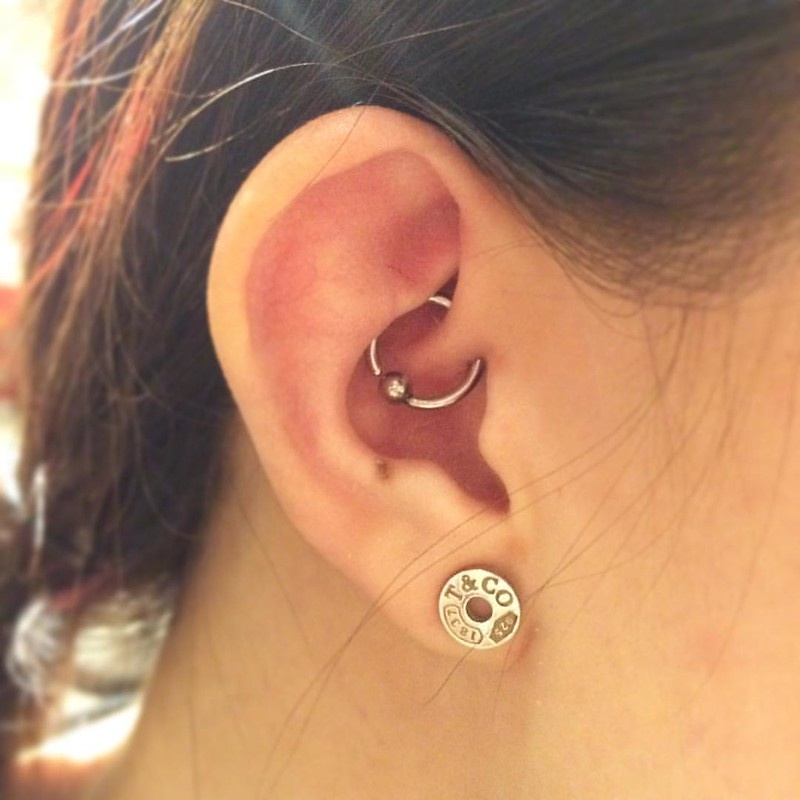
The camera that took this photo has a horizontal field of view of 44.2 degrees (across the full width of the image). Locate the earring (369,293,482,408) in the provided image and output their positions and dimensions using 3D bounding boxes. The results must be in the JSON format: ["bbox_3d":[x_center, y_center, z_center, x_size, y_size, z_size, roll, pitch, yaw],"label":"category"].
[{"bbox_3d":[0.029,-0.037,1.047,0.119,0.118,0.039,-21,3,1],"label":"earring"}]

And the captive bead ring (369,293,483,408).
[{"bbox_3d":[0.029,-0.037,1.048,0.119,0.118,0.039,-21,3,1],"label":"captive bead ring"}]

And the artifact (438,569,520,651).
[{"bbox_3d":[0.085,0.203,1.034,0.073,0.089,0.020,-2,5,10],"label":"artifact"}]
